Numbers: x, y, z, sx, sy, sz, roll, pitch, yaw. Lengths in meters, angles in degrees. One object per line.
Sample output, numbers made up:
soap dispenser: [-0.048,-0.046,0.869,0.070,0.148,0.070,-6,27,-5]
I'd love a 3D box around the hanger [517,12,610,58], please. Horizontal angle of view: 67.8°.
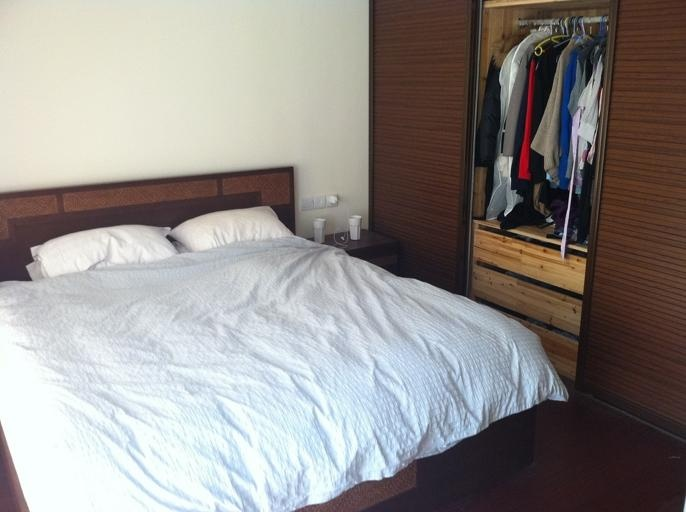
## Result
hanger: [1.441,-1.435,3.331,0.049,0.175,0.629,-14,23,-35]

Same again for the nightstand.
nightstand: [0.092,-0.005,4.412,0.637,0.357,0.555,-7,17,-32]
